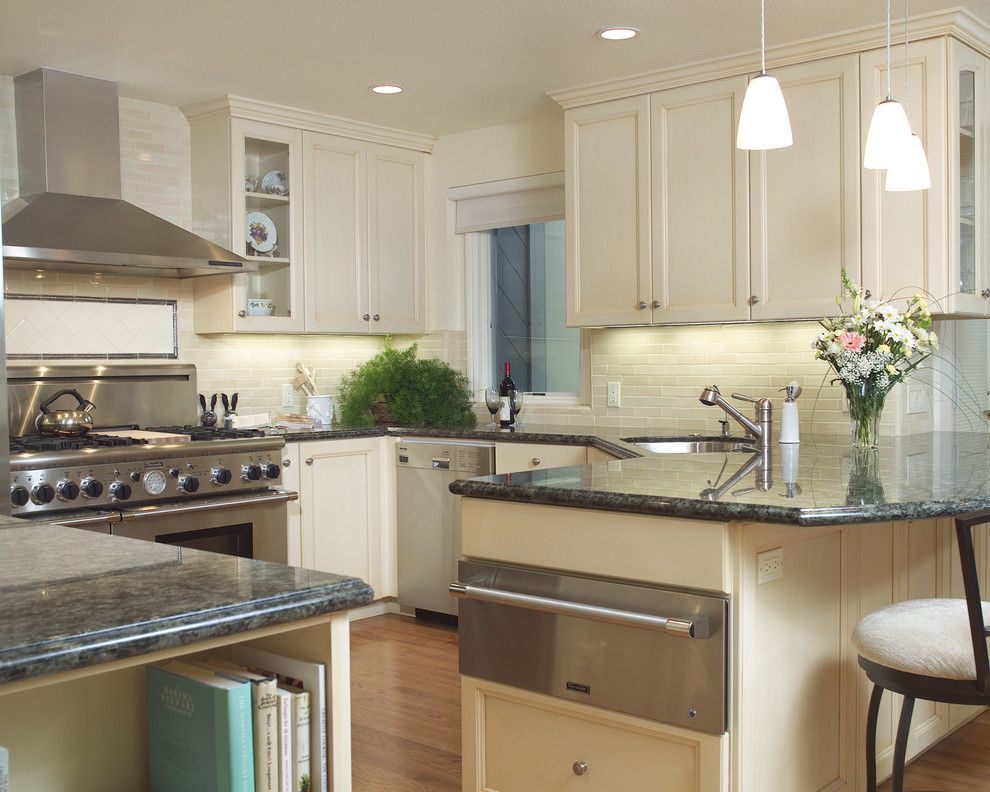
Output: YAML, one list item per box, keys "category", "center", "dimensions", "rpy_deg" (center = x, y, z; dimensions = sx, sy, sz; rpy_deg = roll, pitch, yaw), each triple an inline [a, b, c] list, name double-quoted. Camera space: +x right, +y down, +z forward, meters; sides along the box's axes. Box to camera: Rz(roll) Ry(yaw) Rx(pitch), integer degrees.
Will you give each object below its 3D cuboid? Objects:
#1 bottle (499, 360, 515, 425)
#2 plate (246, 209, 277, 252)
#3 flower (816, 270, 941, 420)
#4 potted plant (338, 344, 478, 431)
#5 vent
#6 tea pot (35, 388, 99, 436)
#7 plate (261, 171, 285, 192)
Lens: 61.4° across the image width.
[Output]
- category: "bottle"
  center: [0.060, -0.012, 4.582]
  dimensions: [0.084, 0.269, 0.213]
  rpy_deg: [-1, 0, 0]
- category: "plate"
  center: [-1.266, -0.881, 4.482]
  dimensions: [0.038, 0.184, 0.181]
  rpy_deg: [4, 7, 35]
- category: "flower"
  center: [1.506, -0.221, 3.318]
  dimensions: [0.422, 0.608, 0.593]
  rpy_deg: [-1, 0, 26]
- category: "potted plant"
  center: [-0.523, -0.023, 4.902]
  dimensions: [0.518, 0.355, 0.643]
  rpy_deg: [-8, 14, -30]
- category: "vent"
  center: [-1.851, -1.045, 3.900]
  dimensions: [0.889, 0.981, 0.555]
  rpy_deg: [-2, 1, -38]
- category: "tea pot"
  center: [-2.043, 0.086, 3.960]
  dimensions: [0.267, 0.253, 0.257]
  rpy_deg: [1, 2, 0]
- category: "plate"
  center: [-1.207, -1.160, 4.521]
  dimensions: [0.116, 0.091, 0.115]
  rpy_deg: [9, 0, 10]
